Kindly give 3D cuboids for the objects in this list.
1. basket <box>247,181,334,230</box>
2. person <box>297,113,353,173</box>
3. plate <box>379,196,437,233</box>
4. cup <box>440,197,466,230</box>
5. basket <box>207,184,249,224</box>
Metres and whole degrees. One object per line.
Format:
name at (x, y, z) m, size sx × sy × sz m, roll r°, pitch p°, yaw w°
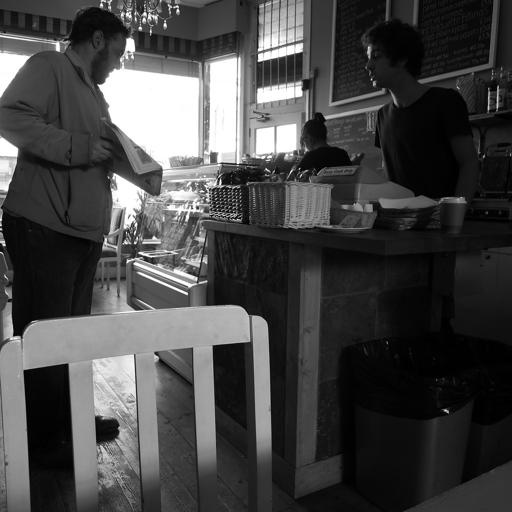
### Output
basket at (0.078, -0.171, 1.661) m, size 0.329 × 0.146 × 0.189 m, roll 7°, pitch 10°, yaw 41°
person at (0.397, -0.712, 3.093) m, size 0.296 × 0.398 × 0.866 m, roll 1°, pitch 7°, yaw 3°
plate at (0.489, -0.142, 1.607) m, size 0.189 × 0.104 × 0.213 m, roll 6°, pitch 9°, yaw 39°
cup at (0.581, -0.127, 1.488) m, size 0.079 × 0.103 × 0.078 m, roll 0°, pitch 2°, yaw 0°
basket at (-0.109, -0.210, 1.996) m, size 0.080 × 0.148 × 0.387 m, roll -2°, pitch 8°, yaw -21°
